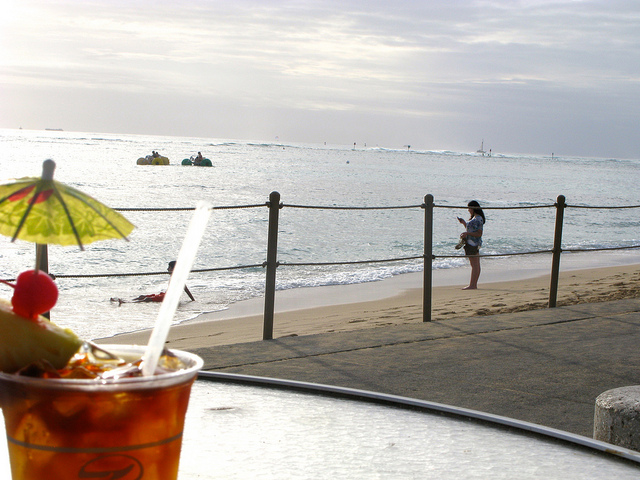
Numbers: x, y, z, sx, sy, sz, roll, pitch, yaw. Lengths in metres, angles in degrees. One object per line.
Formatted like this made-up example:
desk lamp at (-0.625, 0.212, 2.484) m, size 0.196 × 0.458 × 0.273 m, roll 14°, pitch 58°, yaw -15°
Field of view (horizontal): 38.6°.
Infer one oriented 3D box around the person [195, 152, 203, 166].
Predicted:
person at (-9.799, -6.512, 74.195) m, size 0.611 × 0.830 × 1.167 m, roll 1°, pitch 8°, yaw -8°

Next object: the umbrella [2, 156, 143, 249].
umbrella at (-0.406, -0.056, 1.497) m, size 0.209 × 0.152 × 0.168 m, roll 1°, pitch 9°, yaw -10°

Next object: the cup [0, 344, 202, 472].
cup at (-0.341, 0.235, 1.442) m, size 0.263 × 0.158 × 0.261 m, roll 0°, pitch -5°, yaw 0°

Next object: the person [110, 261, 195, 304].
person at (-2.616, 0.734, 14.218) m, size 1.250 × 0.483 × 0.756 m, roll -9°, pitch -7°, yaw -2°
